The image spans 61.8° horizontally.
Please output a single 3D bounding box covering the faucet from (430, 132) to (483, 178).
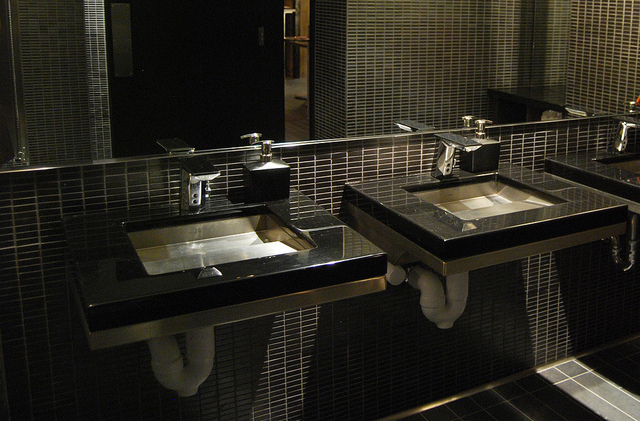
[{"bbox_3d":[0.653,-0.231,2.515,0.144,0.192,0.218,-2,16,-26],"label":"faucet"}]

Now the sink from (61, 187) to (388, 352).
[{"bbox_3d":[-0.383,0.160,2.060,1.107,0.217,0.634,-10,28,-16],"label":"sink"}]

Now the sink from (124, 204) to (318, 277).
[{"bbox_3d":[-0.398,0.102,2.133,0.731,0.144,0.292,-3,27,-3],"label":"sink"}]

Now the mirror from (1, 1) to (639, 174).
[{"bbox_3d":[0.102,-0.624,2.424,2.881,0.745,0.272,-10,29,-14],"label":"mirror"}]

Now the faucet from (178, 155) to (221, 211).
[{"bbox_3d":[-0.517,-0.108,2.181,0.170,0.258,0.252,-6,16,-33],"label":"faucet"}]
